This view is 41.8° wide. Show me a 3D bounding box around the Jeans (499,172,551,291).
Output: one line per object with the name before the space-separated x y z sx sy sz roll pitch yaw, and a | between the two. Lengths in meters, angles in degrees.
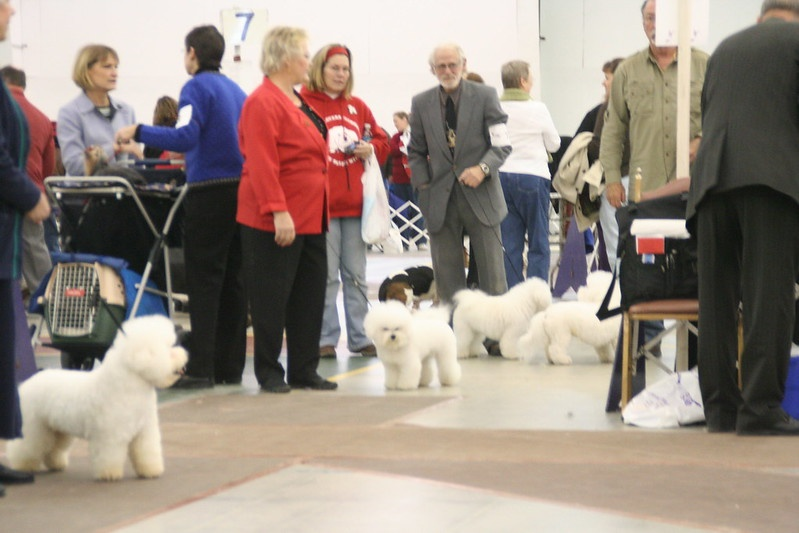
Jeans | 1.163 -0.241 9.528 0.437 1.299 0.377 4 15 30

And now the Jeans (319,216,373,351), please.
Jeans | -0.452 0.016 8.407 0.436 1.532 0.316 -8 16 -18

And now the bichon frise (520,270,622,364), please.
bichon frise | 1.292 0.437 8.160 1.056 0.856 0.392 -5 5 -9

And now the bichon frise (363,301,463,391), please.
bichon frise | 0.027 0.559 7.271 0.452 0.553 0.759 -4 -7 39

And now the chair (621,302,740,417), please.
chair | 1.693 0.550 6.374 0.731 0.711 0.601 -1 -3 13

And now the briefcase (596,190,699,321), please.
briefcase | 1.482 -0.038 6.443 0.819 0.741 0.654 -3 -6 3

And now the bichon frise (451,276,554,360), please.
bichon frise | 0.787 0.417 8.292 0.801 0.672 0.387 2 12 8

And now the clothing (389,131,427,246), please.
clothing | 0.005 -1.441 16.665 0.478 1.752 0.492 -4 10 -24

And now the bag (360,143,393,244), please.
bag | -0.161 -0.458 8.336 0.309 0.836 0.249 -2 -27 3

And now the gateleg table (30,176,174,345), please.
gateleg table | -2.042 -0.119 7.377 0.909 1.077 0.952 3 2 36
